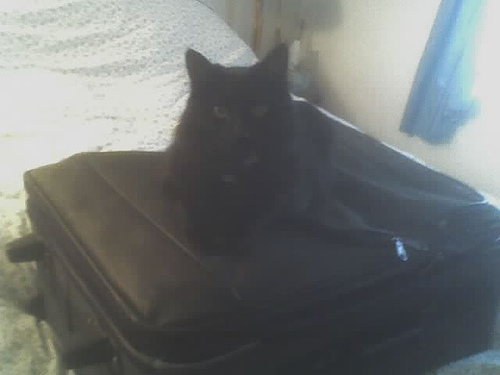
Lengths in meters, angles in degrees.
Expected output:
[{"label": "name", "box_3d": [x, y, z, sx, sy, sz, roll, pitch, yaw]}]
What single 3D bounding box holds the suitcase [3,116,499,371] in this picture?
[{"label": "suitcase", "box_3d": [0.087, 0.298, 2.297, 1.191, 0.559, 0.933, -5, 17, -20]}]
